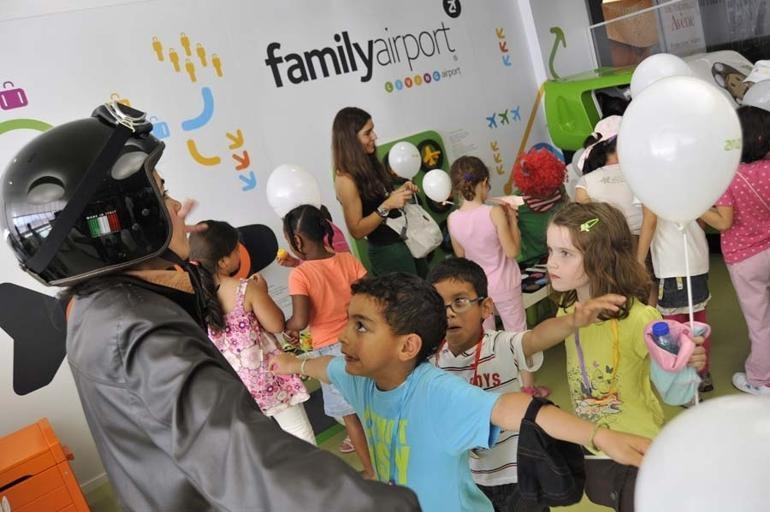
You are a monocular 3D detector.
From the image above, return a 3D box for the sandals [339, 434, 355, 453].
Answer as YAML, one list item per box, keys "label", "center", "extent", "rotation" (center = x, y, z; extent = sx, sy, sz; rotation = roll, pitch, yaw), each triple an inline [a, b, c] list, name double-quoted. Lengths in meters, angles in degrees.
- label: "sandals"
  center: [-0.253, 1.262, 3.687]
  extent: [0.088, 0.097, 0.216]
  rotation: [-2, -9, 6]

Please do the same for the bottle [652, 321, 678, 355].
- label: "bottle"
  center: [1.052, 0.301, 2.016]
  extent: [0.084, 0.112, 0.088]
  rotation: [-13, 11, 3]

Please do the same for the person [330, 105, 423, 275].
- label: "person"
  center: [-0.087, -0.463, 4.045]
  extent: [0.417, 1.529, 0.556]
  rotation: [-14, 36, 7]

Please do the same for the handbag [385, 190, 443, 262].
- label: "handbag"
  center: [0.201, -0.232, 4.075]
  extent: [0.234, 0.443, 0.384]
  rotation: [-25, 20, 39]
